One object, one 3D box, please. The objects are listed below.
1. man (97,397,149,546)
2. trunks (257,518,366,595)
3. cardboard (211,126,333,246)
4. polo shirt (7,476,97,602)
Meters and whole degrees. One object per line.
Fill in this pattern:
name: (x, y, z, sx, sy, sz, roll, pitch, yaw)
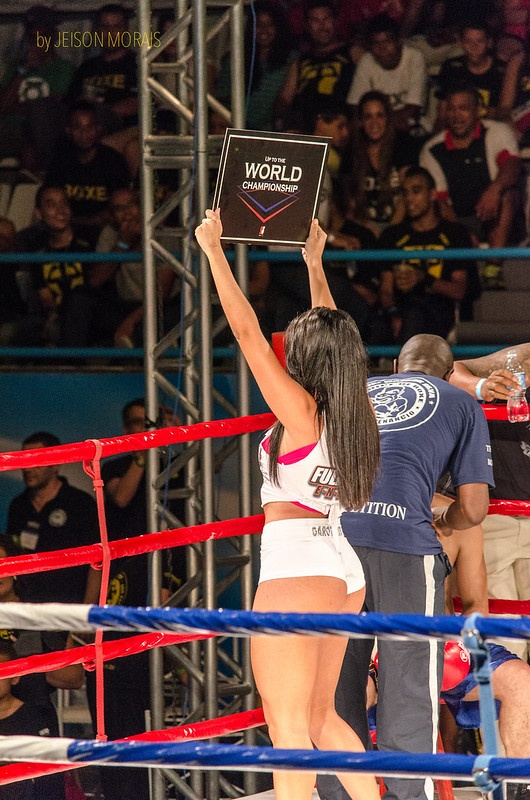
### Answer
man: (-0.713, 0.353, 6.412, 0.198, 0.732, 0.256, -7, -10, 23)
trunks: (0.098, 0.347, 2.806, 0.345, 0.169, 0.185, 7, -10, -43)
cardboard: (0.008, -0.655, 3.662, 0.386, 0.334, 0.030, -2, 20, -36)
polo shirt: (-1.105, 0.747, 6.226, 0.489, 0.587, 0.416, -10, 17, -9)
